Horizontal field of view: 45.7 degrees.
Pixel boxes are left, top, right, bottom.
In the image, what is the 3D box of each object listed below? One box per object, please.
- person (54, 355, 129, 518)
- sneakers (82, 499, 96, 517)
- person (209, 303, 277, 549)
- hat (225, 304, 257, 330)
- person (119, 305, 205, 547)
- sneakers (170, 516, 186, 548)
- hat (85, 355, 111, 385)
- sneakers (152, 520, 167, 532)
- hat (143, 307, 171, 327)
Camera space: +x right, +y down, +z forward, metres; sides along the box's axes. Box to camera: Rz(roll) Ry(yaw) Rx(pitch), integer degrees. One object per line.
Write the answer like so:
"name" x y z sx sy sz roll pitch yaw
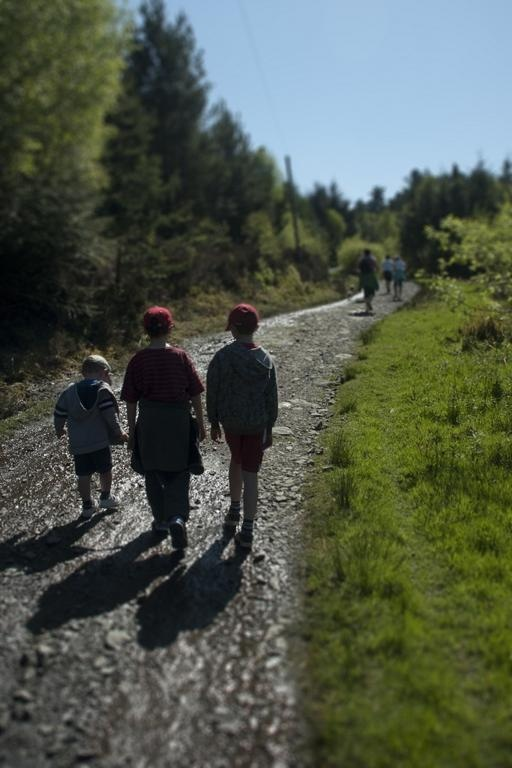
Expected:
"person" -1.376 0.501 5.205 0.584 1.438 0.395 -7 12 -2
"sneakers" -1.510 1.121 5.500 0.074 0.084 0.193 1 12 0
"person" -0.084 0.392 4.780 0.547 1.967 0.260 -6 12 1
"hat" -0.116 -0.519 4.718 0.232 0.192 0.384 12 7 -13
"person" -0.689 0.356 4.678 0.632 1.855 0.356 -8 12 -5
"sneakers" -0.606 1.174 4.742 0.102 0.255 0.105 -1 13 -2
"hat" -1.400 -0.129 5.236 0.195 0.261 0.254 7 11 18
"sneakers" -0.821 1.202 5.189 0.101 0.050 0.135 2 20 -4
"hat" -0.743 -0.494 4.532 0.190 0.133 0.237 -9 13 -10
